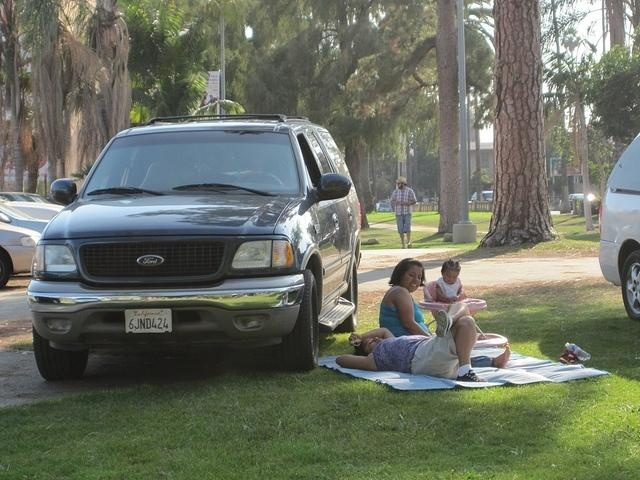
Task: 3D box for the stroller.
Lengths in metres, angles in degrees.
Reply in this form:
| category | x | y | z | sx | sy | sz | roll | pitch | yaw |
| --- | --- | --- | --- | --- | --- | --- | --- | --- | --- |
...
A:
| category | x | y | z | sx | sy | sz | roll | pitch | yaw |
| --- | --- | --- | --- | --- | --- | --- | --- | --- | --- |
| stroller | 1.395 | 0.749 | 9.182 | 0.597 | 0.600 | 0.633 | -4 | 4 | 24 |

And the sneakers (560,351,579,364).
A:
| category | x | y | z | sx | sy | sz | roll | pitch | yaw |
| --- | --- | --- | --- | --- | --- | --- | --- | --- | --- |
| sneakers | 2.460 | 1.176 | 8.414 | 0.109 | 0.127 | 0.139 | 37 | 3 | 43 |

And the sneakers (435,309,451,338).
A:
| category | x | y | z | sx | sy | sz | roll | pitch | yaw |
| --- | --- | --- | --- | --- | --- | --- | --- | --- | --- |
| sneakers | 1.124 | 0.773 | 7.768 | 0.105 | 0.260 | 0.106 | 10 | 17 | 28 |

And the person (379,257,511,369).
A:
| category | x | y | z | sx | sy | sz | roll | pitch | yaw |
| --- | --- | --- | --- | --- | --- | --- | --- | --- | --- |
| person | 1.280 | 0.678 | 8.861 | 1.308 | 1.053 | 0.813 | -1 | 4 | 20 |

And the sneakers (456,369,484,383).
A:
| category | x | y | z | sx | sy | sz | roll | pitch | yaw |
| --- | --- | --- | --- | --- | --- | --- | --- | --- | --- |
| sneakers | 1.366 | 1.265 | 7.826 | 0.264 | 0.110 | 0.084 | -1 | 2 | 22 |

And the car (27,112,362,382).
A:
| category | x | y | z | sx | sy | sz | roll | pitch | yaw |
| --- | --- | --- | --- | --- | --- | --- | --- | --- | --- |
| car | -0.928 | -0.082 | 9.066 | 2.004 | 1.795 | 3.619 | -1 | -4 | 9 |

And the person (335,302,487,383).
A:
| category | x | y | z | sx | sy | sz | roll | pitch | yaw |
| --- | --- | --- | --- | --- | --- | --- | --- | --- | --- |
| person | 0.898 | 1.060 | 8.134 | 1.226 | 0.563 | 0.690 | -13 | -17 | 43 |

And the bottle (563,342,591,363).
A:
| category | x | y | z | sx | sy | sz | roll | pitch | yaw |
| --- | --- | --- | --- | --- | --- | --- | --- | --- | --- |
| bottle | 2.561 | 1.136 | 8.424 | 0.220 | 0.137 | 0.169 | 20 | 1 | -2 |
